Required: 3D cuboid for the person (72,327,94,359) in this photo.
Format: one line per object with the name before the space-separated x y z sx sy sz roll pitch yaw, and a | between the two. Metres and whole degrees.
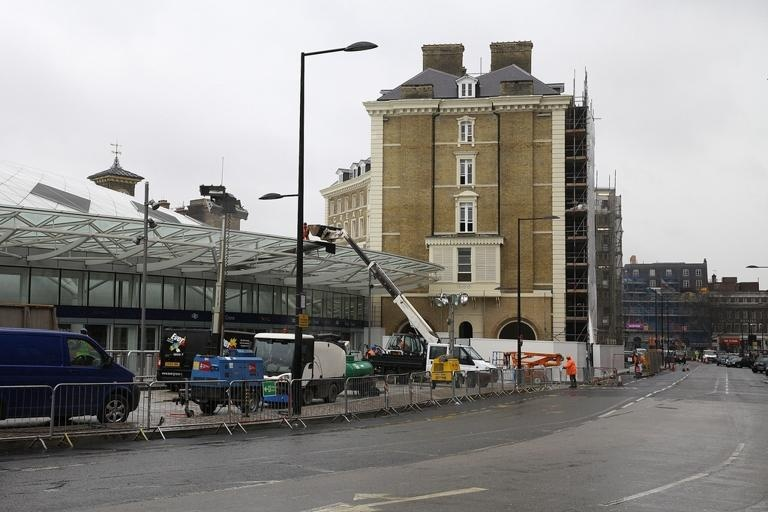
person | -9.665 2.931 31.782 0.200 0.796 0.901 -8 -9 40
